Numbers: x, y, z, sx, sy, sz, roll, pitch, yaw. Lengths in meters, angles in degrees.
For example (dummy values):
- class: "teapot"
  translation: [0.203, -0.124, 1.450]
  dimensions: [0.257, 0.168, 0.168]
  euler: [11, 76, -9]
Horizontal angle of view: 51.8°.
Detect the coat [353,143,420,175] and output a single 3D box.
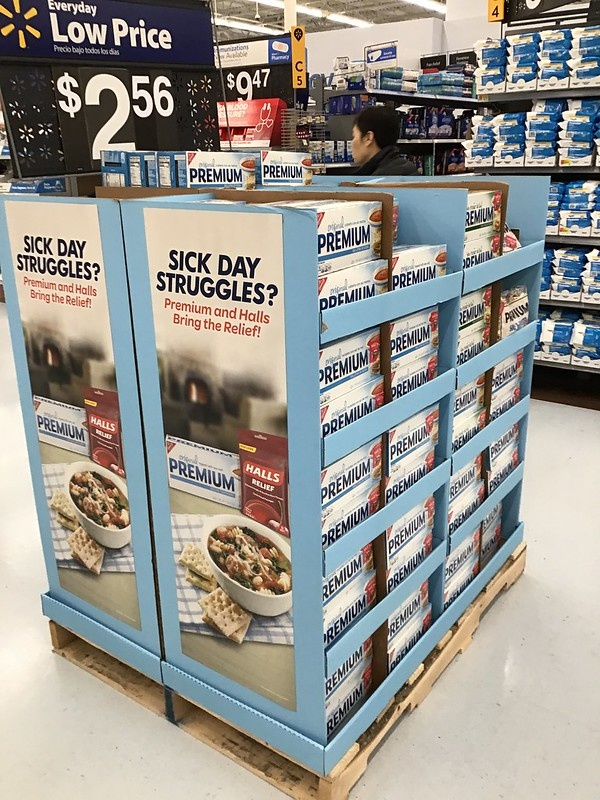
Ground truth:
- class: "coat"
  translation: [0.441, -1.218, 3.155]
  dimensions: [0.231, 0.172, 0.536]
  euler: [-1, 15, -2]
